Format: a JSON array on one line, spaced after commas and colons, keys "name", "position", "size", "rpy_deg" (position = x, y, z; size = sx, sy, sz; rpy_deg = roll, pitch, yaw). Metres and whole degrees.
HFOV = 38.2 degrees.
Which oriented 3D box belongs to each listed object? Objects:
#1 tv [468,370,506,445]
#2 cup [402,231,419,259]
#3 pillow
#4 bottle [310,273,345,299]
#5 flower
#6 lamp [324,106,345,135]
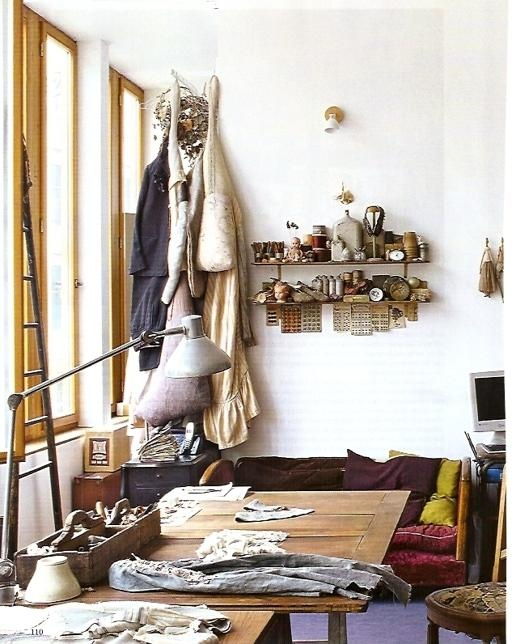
[{"name": "tv", "position": [1.313, 0.492, 4.219], "size": [0.185, 0.424, 0.313], "rpy_deg": [0, 3, 15]}, {"name": "cup", "position": [0.929, -0.455, 4.464], "size": [0.097, 0.168, 0.151], "rpy_deg": [0, 3, 10]}, {"name": "pillow", "position": [0.817, 0.894, 4.106], "size": [0.437, 0.122, 0.410], "rpy_deg": [1, 44, 17]}, {"name": "bottle", "position": [0.438, -0.211, 4.518], "size": [0.174, 0.201, 0.084], "rpy_deg": [-2, -3, 29]}, {"name": "flower", "position": [-0.439, -1.270, 4.821], "size": [0.527, 0.525, 0.159], "rpy_deg": [2, 1, 11]}, {"name": "lamp", "position": [0.479, -1.242, 4.496], "size": [0.132, 0.170, 0.215], "rpy_deg": [0, 3, 5]}]
